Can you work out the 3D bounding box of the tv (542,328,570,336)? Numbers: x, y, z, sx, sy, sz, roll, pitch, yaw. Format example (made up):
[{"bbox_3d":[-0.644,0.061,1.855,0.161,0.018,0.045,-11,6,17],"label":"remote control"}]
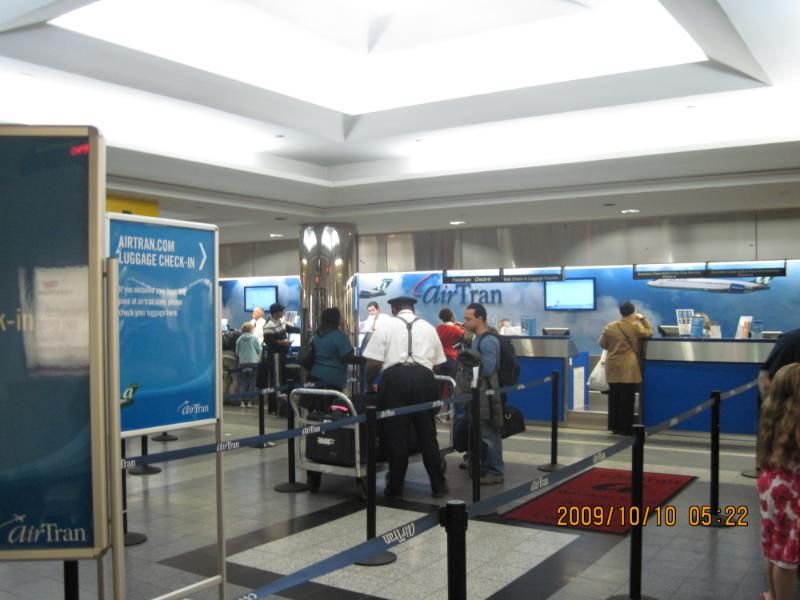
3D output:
[{"bbox_3d":[3.082,0.619,12.640,0.378,0.124,0.325,1,0,-2],"label":"tv"}]

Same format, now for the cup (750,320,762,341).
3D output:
[{"bbox_3d":[6.469,0.549,11.673,0.293,0.316,0.280,-1,-4,0],"label":"cup"}]

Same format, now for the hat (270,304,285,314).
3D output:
[{"bbox_3d":[-2.241,0.169,11.872,0.181,0.157,0.259,5,15,32],"label":"hat"}]

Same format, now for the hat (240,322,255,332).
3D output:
[{"bbox_3d":[-3.184,0.559,13.291,0.195,0.226,0.227,2,18,-7],"label":"hat"}]

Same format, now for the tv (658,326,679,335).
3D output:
[{"bbox_3d":[5.005,0.539,11.927,0.321,0.191,1.236,-3,-1,23],"label":"tv"}]

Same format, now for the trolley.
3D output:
[{"bbox_3d":[-0.262,1.542,7.554,0.991,1.151,1.870,-7,-6,39],"label":"trolley"}]

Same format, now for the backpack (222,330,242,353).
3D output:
[{"bbox_3d":[-3.975,0.948,15.129,0.407,0.519,0.489,2,15,-1],"label":"backpack"}]

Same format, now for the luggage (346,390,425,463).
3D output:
[{"bbox_3d":[-0.097,1.332,7.299,0.758,0.825,0.960,-14,4,-26],"label":"luggage"}]

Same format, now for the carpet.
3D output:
[{"bbox_3d":[2.142,2.031,6.759,1.196,0.164,2.429,-3,-1,40],"label":"carpet"}]

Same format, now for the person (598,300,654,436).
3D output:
[{"bbox_3d":[3.655,1.104,10.403,0.744,2.093,0.442,-3,-1,17],"label":"person"}]

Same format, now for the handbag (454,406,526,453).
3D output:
[{"bbox_3d":[1.028,1.489,7.627,1.107,0.438,0.194,-8,6,-35],"label":"handbag"}]

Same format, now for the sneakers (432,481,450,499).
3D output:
[{"bbox_3d":[0.438,2.040,6.938,0.087,0.170,0.242,2,3,31],"label":"sneakers"}]
